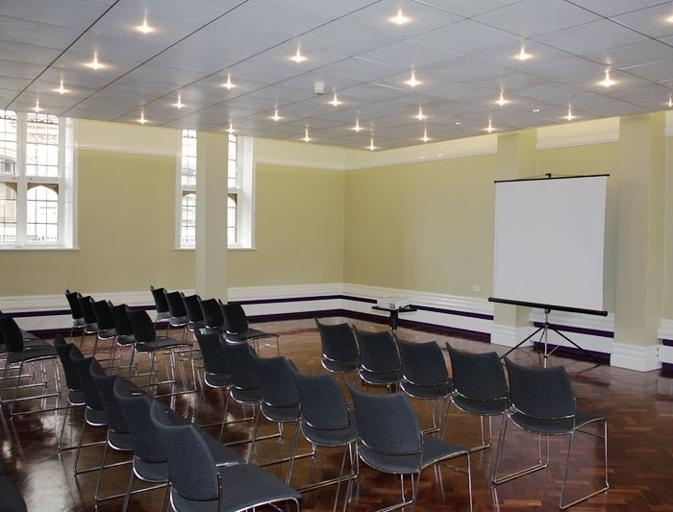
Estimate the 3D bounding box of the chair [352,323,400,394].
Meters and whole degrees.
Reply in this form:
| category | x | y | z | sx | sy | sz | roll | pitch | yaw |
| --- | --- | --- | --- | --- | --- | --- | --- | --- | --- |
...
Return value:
| category | x | y | z | sx | sy | sz | roll | pitch | yaw |
| --- | --- | --- | --- | --- | --- | --- | --- | --- | --- |
| chair | 0.479 | 1.155 | 6.108 | 0.512 | 0.891 | 0.657 | 1 | 0 | 22 |

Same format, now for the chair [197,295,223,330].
| category | x | y | z | sx | sy | sz | roll | pitch | yaw |
| --- | --- | --- | --- | --- | --- | --- | --- | --- | --- |
| chair | -1.832 | 0.884 | 8.130 | 0.365 | 0.531 | 0.459 | 4 | 5 | 35 |

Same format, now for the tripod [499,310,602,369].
| category | x | y | z | sx | sy | sz | roll | pitch | yaw |
| --- | --- | --- | --- | --- | --- | --- | --- | --- | --- |
| tripod | 3.681 | 1.460 | 9.067 | 1.316 | 0.964 | 1.523 | 1 | 4 | 39 |

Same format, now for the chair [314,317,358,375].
| category | x | y | z | sx | sy | sz | roll | pitch | yaw |
| --- | --- | --- | --- | --- | --- | --- | --- | --- | --- |
| chair | -0.065 | 1.118 | 6.821 | 0.488 | 0.914 | 0.654 | 3 | 4 | 28 |
